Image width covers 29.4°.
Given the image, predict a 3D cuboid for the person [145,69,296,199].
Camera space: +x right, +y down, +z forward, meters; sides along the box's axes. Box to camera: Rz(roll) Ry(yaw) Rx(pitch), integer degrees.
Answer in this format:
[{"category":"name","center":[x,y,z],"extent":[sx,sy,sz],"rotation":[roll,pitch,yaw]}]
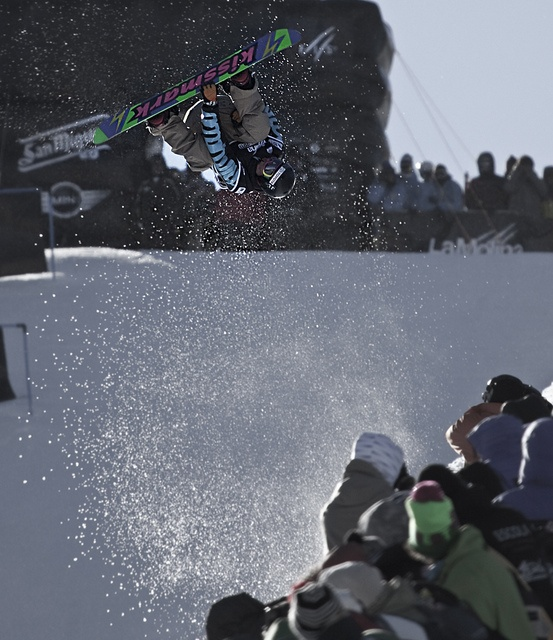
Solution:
[{"category":"person","center":[-0.341,-1.357,7.776],"extent":[0.824,0.383,1.063],"rotation":[-37,89,0]}]

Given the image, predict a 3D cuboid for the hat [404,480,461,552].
[{"category":"hat","center":[0.923,1.173,6.341],"extent":[0.231,0.296,0.470],"rotation":[-2,82,16]}]

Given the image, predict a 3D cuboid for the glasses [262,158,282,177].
[{"category":"glasses","center":[-0.031,-1.139,7.952],"extent":[0.124,0.079,0.152],"rotation":[22,75,6]}]

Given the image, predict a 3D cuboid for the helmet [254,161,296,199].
[{"category":"helmet","center":[0.011,-1.073,8.065],"extent":[0.228,0.285,0.282],"rotation":[-41,79,-19]}]
